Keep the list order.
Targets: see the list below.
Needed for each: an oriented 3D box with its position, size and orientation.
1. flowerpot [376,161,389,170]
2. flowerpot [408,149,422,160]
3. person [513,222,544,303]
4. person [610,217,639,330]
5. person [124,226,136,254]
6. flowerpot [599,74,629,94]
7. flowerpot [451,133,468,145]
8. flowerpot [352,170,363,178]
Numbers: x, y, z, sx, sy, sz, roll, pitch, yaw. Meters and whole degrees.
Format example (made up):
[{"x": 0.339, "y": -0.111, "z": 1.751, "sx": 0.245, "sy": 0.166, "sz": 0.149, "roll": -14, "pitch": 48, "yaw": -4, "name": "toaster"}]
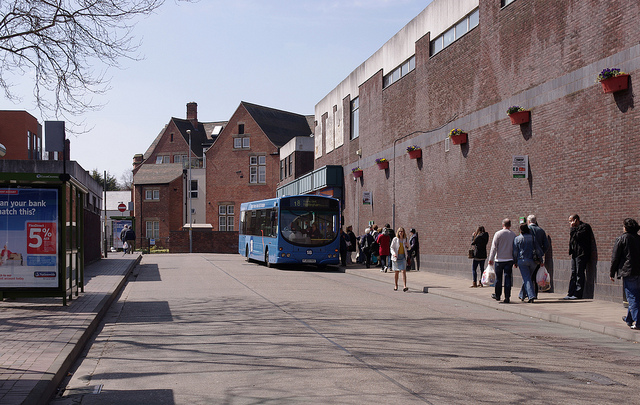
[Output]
[{"x": 3.389, "y": -2.048, "z": 37.906, "sx": 0.417, "sy": 0.404, "sz": 1.000, "roll": 0, "pitch": 3, "yaw": -15, "name": "flowerpot"}, {"x": 4.629, "y": -2.344, "z": 33.671, "sx": 0.408, "sy": 0.247, "sz": 0.407, "roll": 4, "pitch": -9, "yaw": -40, "name": "flowerpot"}, {"x": 6.382, "y": 1.865, "z": 21.454, "sx": 0.910, "sy": 2.434, "sz": 0.604, "roll": -1, "pitch": 4, "yaw": -25, "name": "person"}, {"x": 7.780, "y": 1.782, "z": 17.663, "sx": 0.687, "sy": 2.690, "sz": 0.747, "roll": 2, "pitch": 4, "yaw": 23, "name": "person"}, {"x": -14.218, "y": 2.808, "z": 51.445, "sx": 0.712, "sy": 2.020, "sz": 1.218, "roll": -1, "pitch": 4, "yaw": -30, "name": "person"}, {"x": 8.966, "y": -3.613, "z": 21.108, "sx": 0.332, "sy": 0.512, "sz": 0.717, "roll": -2, "pitch": 4, "yaw": -34, "name": "flowerpot"}, {"x": 5.905, "y": -2.706, "z": 29.475, "sx": 0.368, "sy": 0.464, "sz": 0.700, "roll": -1, "pitch": 3, "yaw": -25, "name": "flowerpot"}, {"x": 2.317, "y": -1.772, "z": 42.316, "sx": 0.423, "sy": 0.424, "sz": 0.709, "roll": 0, "pitch": 3, "yaw": -13, "name": "flowerpot"}]
